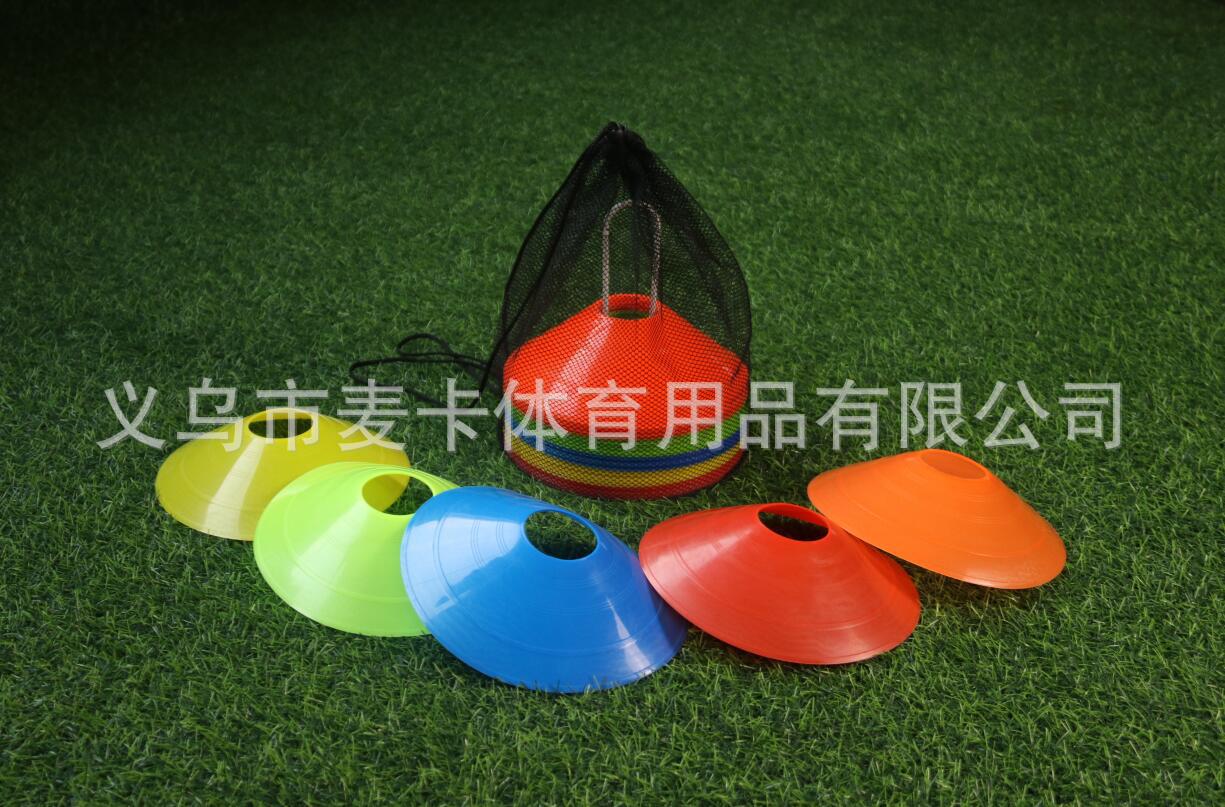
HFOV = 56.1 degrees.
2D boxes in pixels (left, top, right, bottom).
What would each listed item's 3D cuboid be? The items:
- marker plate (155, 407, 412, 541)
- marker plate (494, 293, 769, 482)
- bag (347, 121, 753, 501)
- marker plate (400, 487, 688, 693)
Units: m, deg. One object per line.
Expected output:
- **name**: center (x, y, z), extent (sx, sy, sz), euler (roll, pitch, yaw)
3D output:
- **marker plate**: center (-1.175, 0.228, 3.743), extent (0.569, 0.567, 0.140), euler (21, -59, 27)
- **marker plate**: center (0.058, -0.033, 3.823), extent (0.702, 0.723, 0.417), euler (27, -52, 40)
- **bag**: center (-0.243, -0.299, 4.033), extent (1.527, 0.829, 1.199), euler (-2, -60, -12)
- **marker plate**: center (-0.203, 0.572, 3.318), extent (0.666, 0.617, 0.163), euler (14, -49, -2)
